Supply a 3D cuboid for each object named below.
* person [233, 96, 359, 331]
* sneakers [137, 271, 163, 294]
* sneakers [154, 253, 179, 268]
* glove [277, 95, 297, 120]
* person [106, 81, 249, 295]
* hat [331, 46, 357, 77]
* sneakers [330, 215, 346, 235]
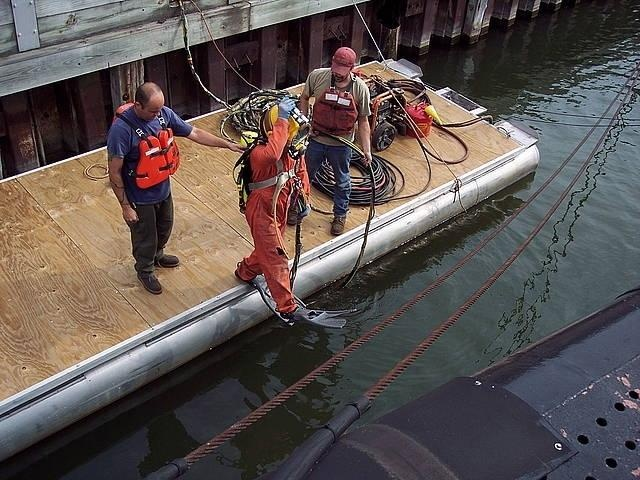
[{"bbox_3d":[-0.328,-0.099,3.823,0.783,2.011,0.900,-11,42,-15],"label":"person"},{"bbox_3d":[-1.578,0.402,4.189,0.077,0.116,0.193,-41,89,-25],"label":"sneakers"},{"bbox_3d":[-1.479,0.213,4.421,0.260,0.148,0.104,-5,49,-13],"label":"sneakers"},{"bbox_3d":[-0.257,-1.020,3.473,0.134,0.122,0.173,6,39,4],"label":"glove"},{"bbox_3d":[-1.364,-0.384,3.965,0.372,1.693,0.860,27,46,26],"label":"person"},{"bbox_3d":[0.229,-1.749,4.424,0.219,0.253,0.197,1,39,-2],"label":"hat"},{"bbox_3d":[0.197,-0.168,5.028,0.098,0.114,0.279,5,32,3],"label":"sneakers"}]
